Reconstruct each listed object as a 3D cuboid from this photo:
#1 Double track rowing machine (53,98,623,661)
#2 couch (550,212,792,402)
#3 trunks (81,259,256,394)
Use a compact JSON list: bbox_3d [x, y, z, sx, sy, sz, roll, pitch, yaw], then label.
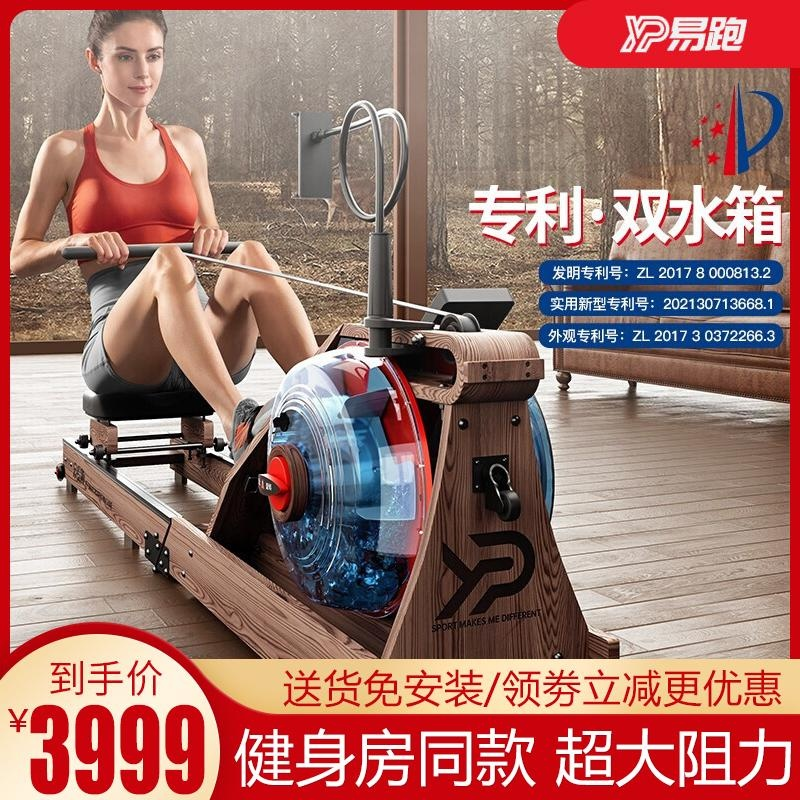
[{"bbox_3d":[-0.216,-0.068,1.334,0.556,0.752,1.254,-3,9,-38],"label":"Double track rowing machine"},{"bbox_3d":[1.461,-0.343,4.269,1.594,0.799,0.620,11,30,40],"label":"couch"},{"bbox_3d":[-0.693,-0.188,2.031,0.418,0.379,0.350,-4,16,-40],"label":"trunks"}]
